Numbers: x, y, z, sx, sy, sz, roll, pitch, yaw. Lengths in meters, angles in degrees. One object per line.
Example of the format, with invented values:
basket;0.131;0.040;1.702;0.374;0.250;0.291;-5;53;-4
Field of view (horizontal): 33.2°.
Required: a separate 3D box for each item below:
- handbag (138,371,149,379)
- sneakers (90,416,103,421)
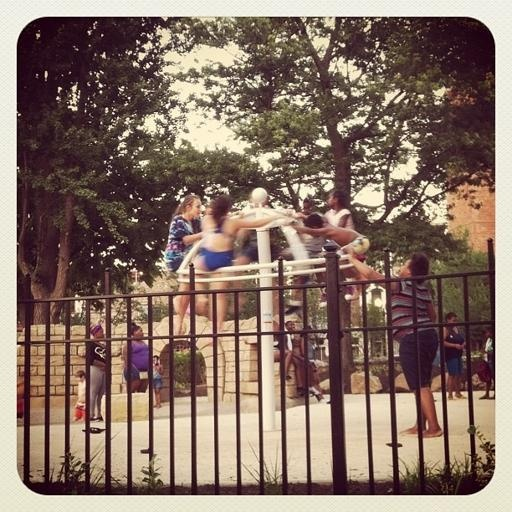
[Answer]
handbag;-1.758;1.865;13.316;0.107;0.115;0.106;1;4;2
sneakers;-2.304;2.370;12.448;0.176;0.080;0.062;-3;-51;13
